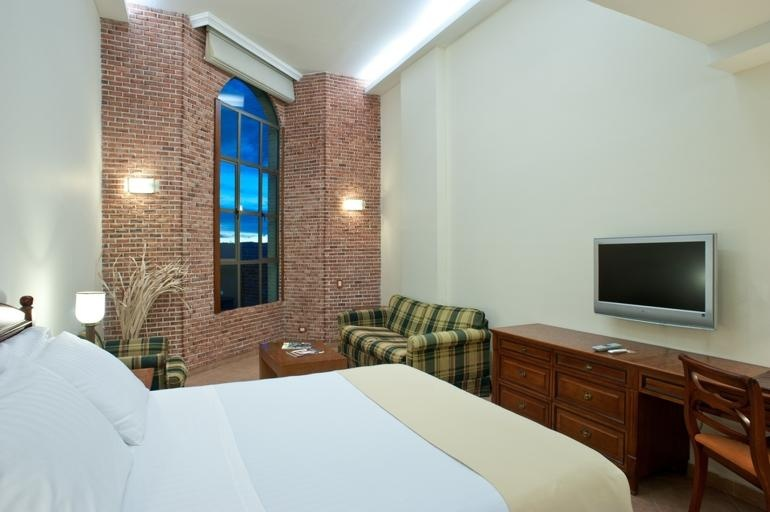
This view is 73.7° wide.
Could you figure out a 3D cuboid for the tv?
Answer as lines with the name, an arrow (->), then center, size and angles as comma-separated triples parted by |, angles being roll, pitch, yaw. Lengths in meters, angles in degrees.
tv -> 2.485, 0.224, 4.641 | 0.127, 0.759, 0.943 | 2, -3, -35
